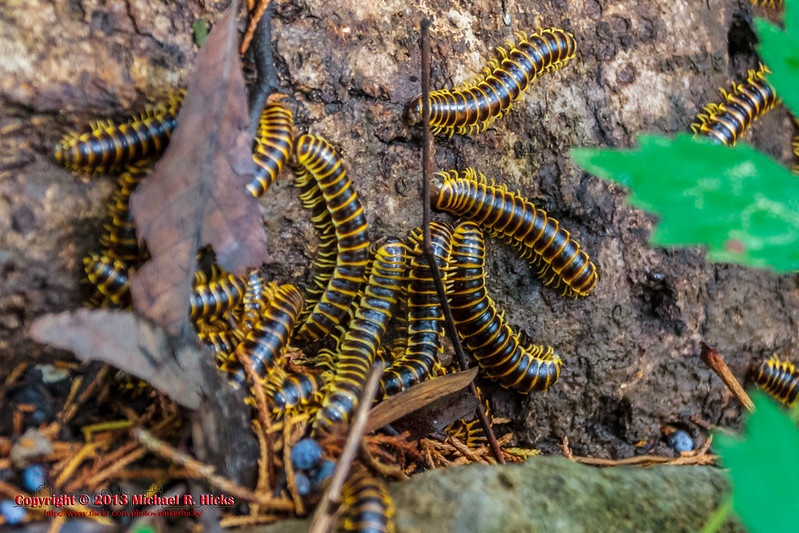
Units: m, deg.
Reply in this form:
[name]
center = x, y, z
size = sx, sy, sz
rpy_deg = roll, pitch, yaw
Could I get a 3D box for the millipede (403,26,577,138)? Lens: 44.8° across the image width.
[millipede]
center = 0.642, -1.324, 7.044
size = 0.898, 0.862, 1.036
rpy_deg = -1, -1, 38
